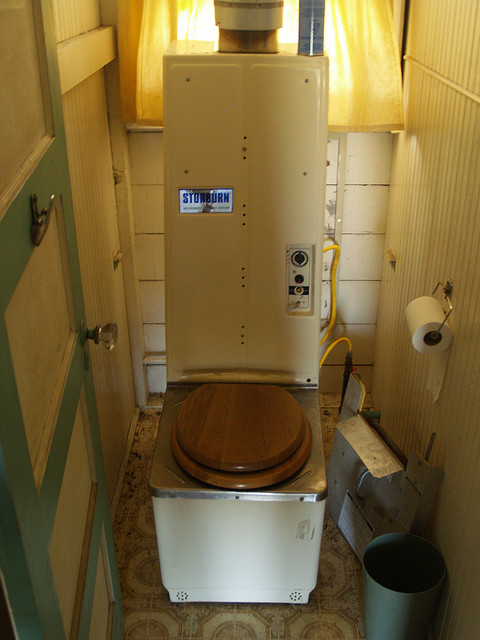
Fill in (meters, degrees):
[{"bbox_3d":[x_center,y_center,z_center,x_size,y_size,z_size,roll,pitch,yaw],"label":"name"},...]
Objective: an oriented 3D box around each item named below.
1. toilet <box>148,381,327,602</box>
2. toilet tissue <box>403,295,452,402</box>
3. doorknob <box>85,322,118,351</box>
[{"bbox_3d":[-0.001,0.550,1.624,0.512,0.620,0.470,-1,32,-1],"label":"toilet"},{"bbox_3d":[0.608,0.095,1.556,0.109,0.343,0.238,1,38,7],"label":"toilet tissue"},{"bbox_3d":[-0.276,0.026,1.007,0.066,0.048,0.051,2,50,9],"label":"doorknob"}]
